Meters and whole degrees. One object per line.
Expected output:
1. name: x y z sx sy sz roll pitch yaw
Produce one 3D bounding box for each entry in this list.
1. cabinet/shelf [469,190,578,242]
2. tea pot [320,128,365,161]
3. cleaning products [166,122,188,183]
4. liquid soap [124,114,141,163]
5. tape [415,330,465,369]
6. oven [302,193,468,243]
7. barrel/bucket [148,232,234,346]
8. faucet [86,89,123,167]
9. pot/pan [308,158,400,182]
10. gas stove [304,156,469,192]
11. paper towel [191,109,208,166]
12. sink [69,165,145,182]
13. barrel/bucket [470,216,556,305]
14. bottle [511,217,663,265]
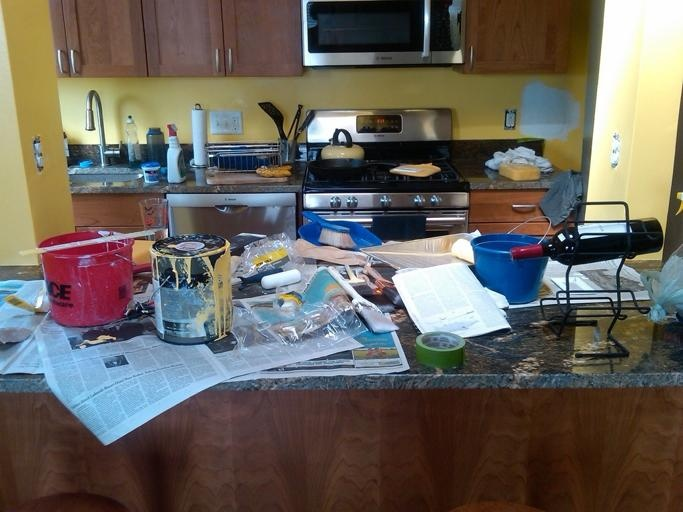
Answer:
1. cabinet/shelf: 0.930 -0.248 3.062 0.514 0.332 0.269 0 5 -4
2. tea pot: 0.009 -0.637 3.276 0.231 0.186 0.221 0 9 0
3. cleaning products: -0.939 -0.570 3.095 0.103 0.314 0.174 -9 20 -15
4. liquid soap: -1.329 -0.743 3.532 0.086 0.292 0.178 -10 20 -19
5. tape: 0.205 0.198 1.163 0.088 0.070 0.085 -4 19 -16
6. oven: 0.275 -0.313 3.396 1.021 0.244 0.698 0 15 0
7. barrel/bucket: -0.313 0.069 1.262 0.221 0.229 0.212 0 15 0
8. faucet: -1.479 -0.782 3.431 0.164 0.468 0.390 -11 20 -20
9. pot/pan: 0.069 -0.489 3.171 0.411 0.054 0.220 -2 8 -27
10. gas stove: 0.245 -0.599 3.561 1.223 0.206 0.822 0 15 -1
11. paper towel: -0.859 -0.709 3.360 0.102 0.349 0.147 -10 21 -17
12. sink: -1.455 -0.506 3.439 0.409 0.077 0.204 -9 19 -18
13. barrel/bucket: 0.421 0.007 1.472 0.195 0.181 0.208 2 17 -1
14. bottle: 0.564 -0.031 1.281 0.354 0.101 0.093 -3 19 1
